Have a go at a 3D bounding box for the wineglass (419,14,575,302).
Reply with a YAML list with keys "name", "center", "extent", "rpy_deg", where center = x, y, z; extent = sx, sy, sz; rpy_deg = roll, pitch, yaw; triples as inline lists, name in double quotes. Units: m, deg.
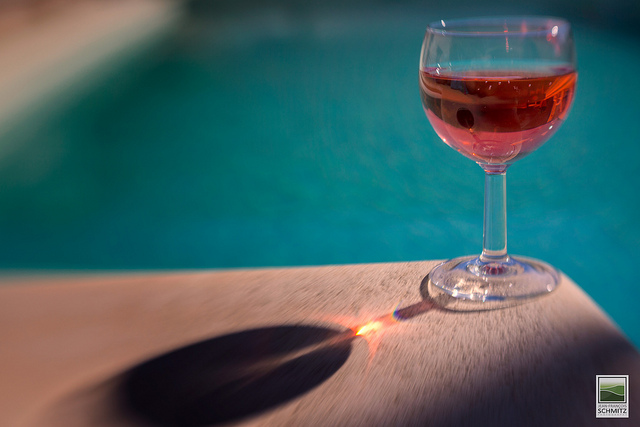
- name: "wineglass"
  center: [0.228, -0.070, 0.658]
  extent: [0.181, 0.312, 0.168]
  rpy_deg: [-7, 14, -24]
